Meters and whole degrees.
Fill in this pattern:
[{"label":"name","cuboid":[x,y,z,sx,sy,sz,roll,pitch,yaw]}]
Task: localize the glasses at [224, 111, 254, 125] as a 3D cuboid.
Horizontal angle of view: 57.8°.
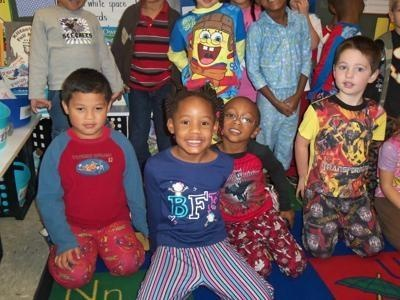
[{"label":"glasses","cuboid":[0.214,-0.182,2.115,0.225,0.067,0.057,11,6,19]}]
